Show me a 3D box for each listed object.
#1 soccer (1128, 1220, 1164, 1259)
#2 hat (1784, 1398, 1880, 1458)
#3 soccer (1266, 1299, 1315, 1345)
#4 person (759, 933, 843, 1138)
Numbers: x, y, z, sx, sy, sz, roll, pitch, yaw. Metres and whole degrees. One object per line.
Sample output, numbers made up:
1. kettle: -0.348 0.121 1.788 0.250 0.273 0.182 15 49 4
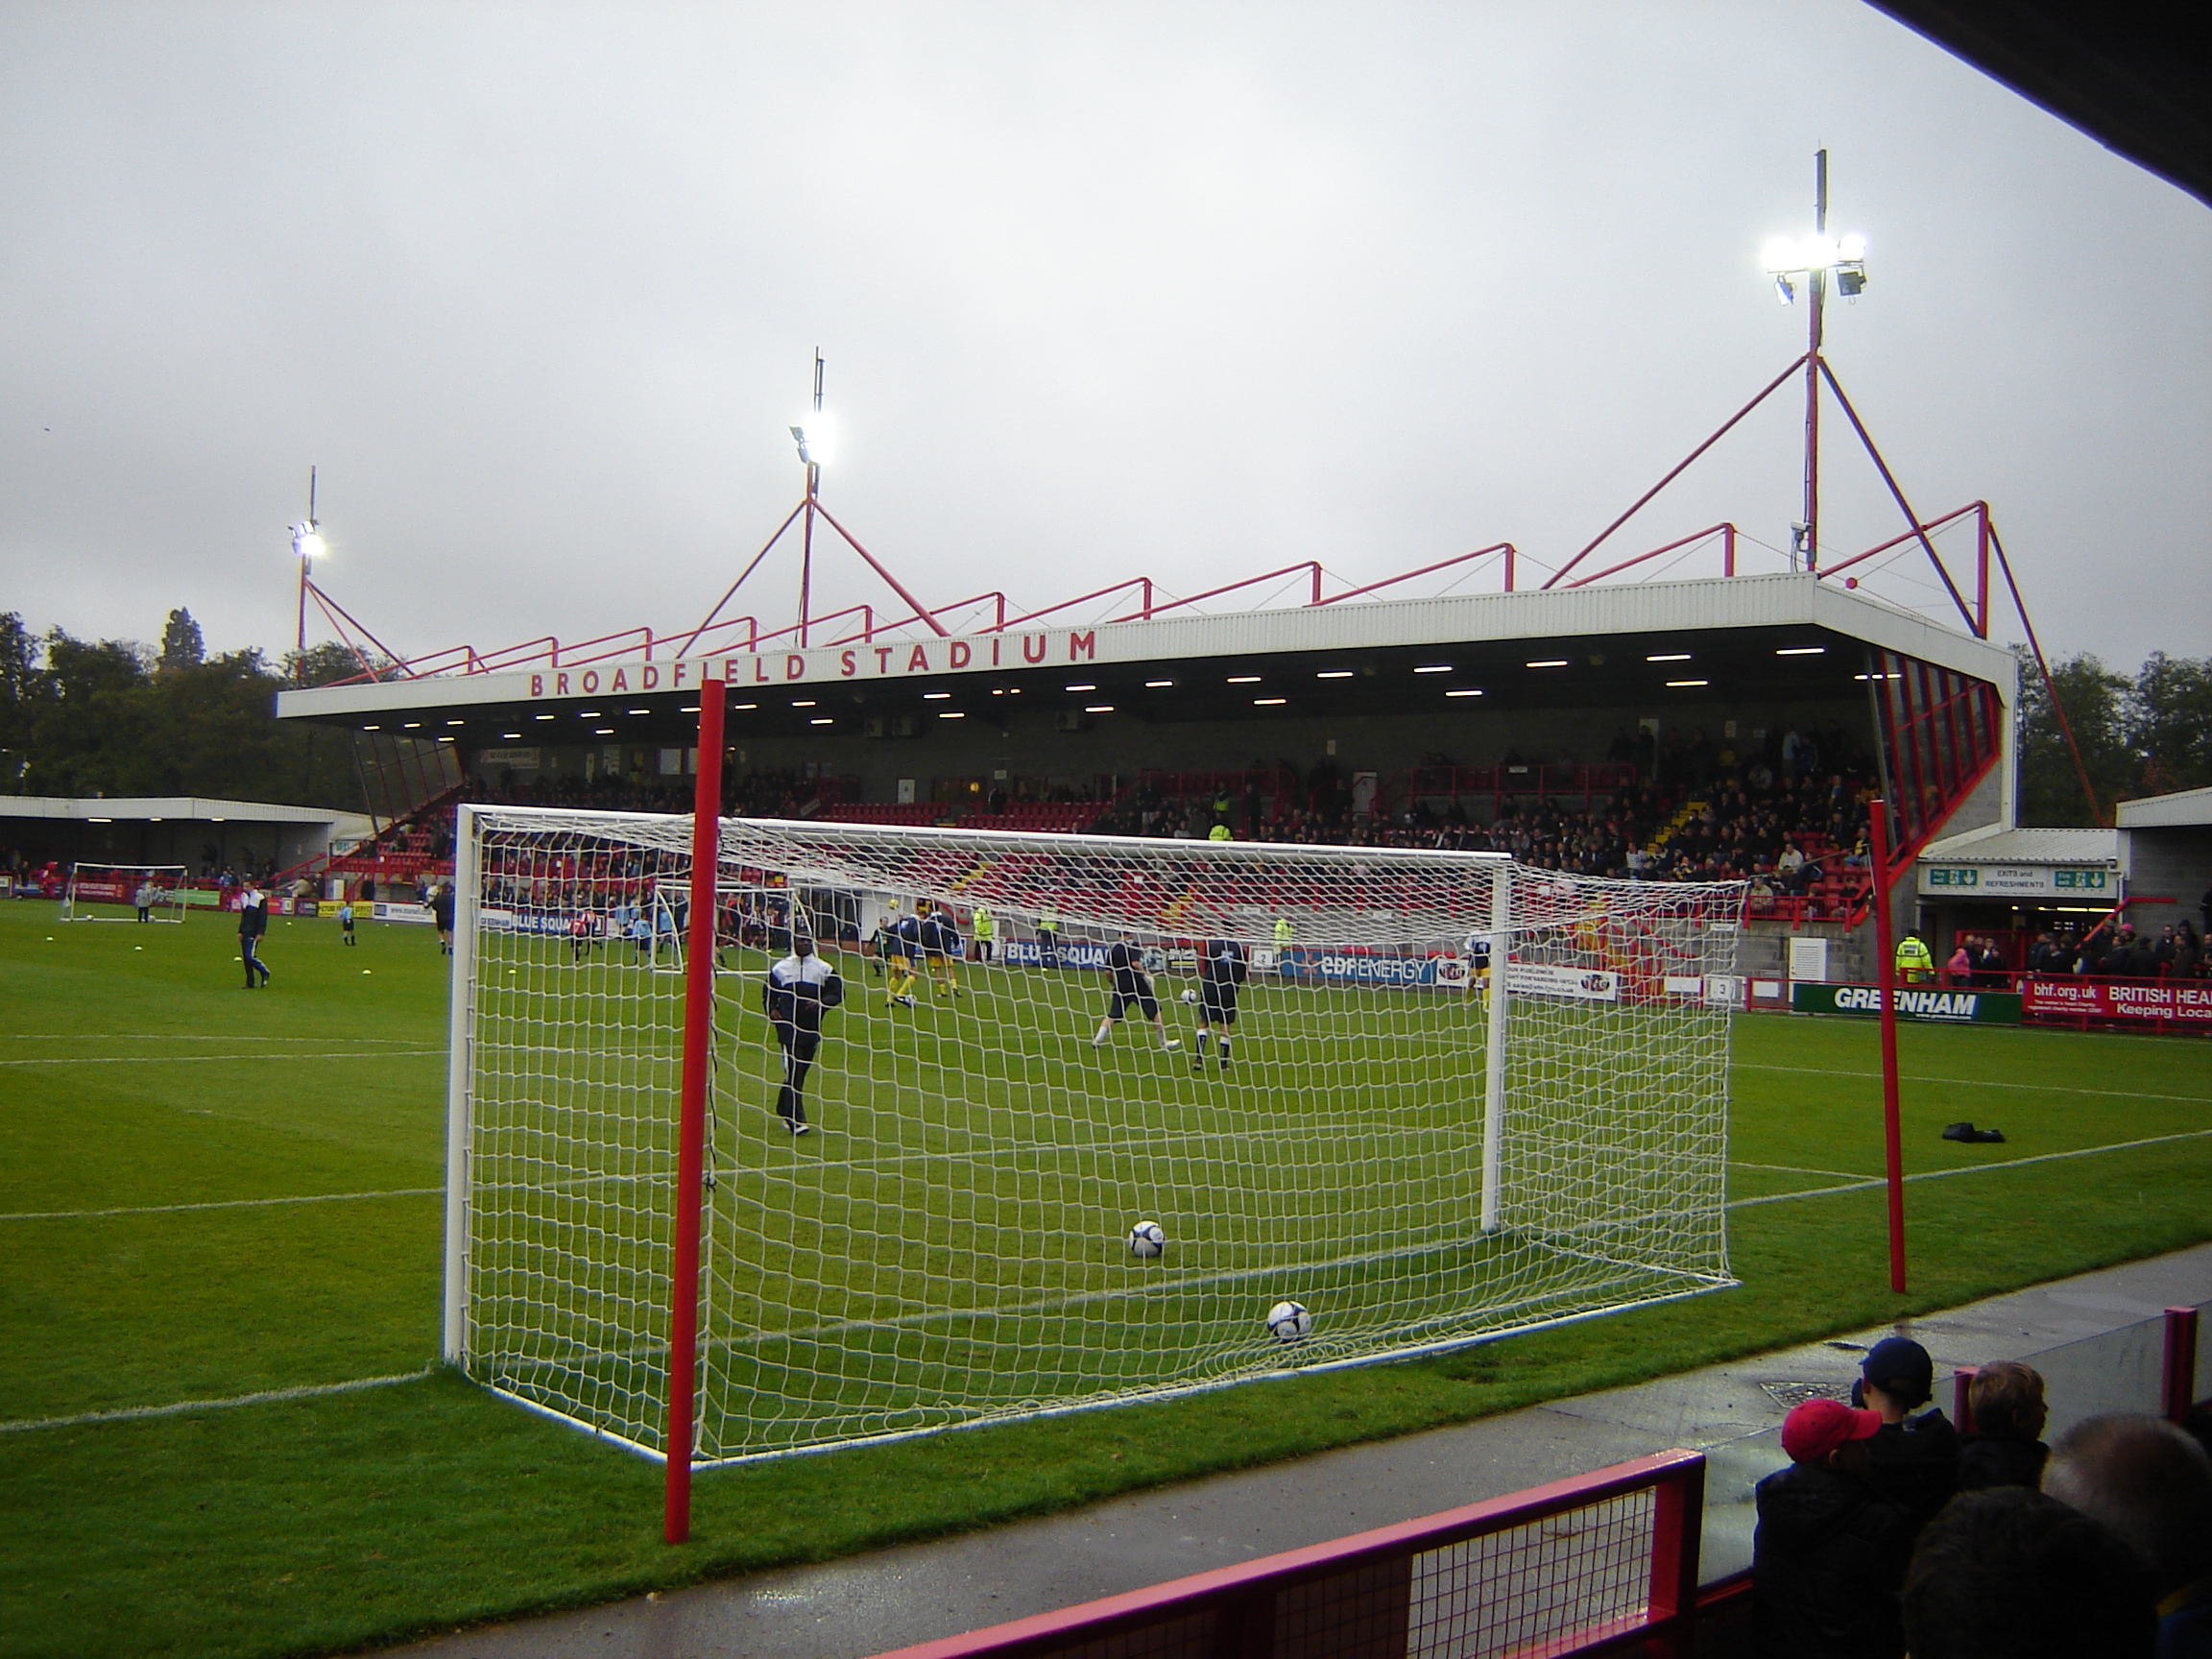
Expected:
1. soccer: 0.196 2.152 10.425 0.164 0.178 0.171 -8 -5 1
2. hat: 2.131 1.782 5.877 0.247 0.134 0.166 -22 9 -12
3. soccer: 0.852 2.324 9.377 0.158 0.171 0.163 -8 -5 -10
4. person: -1.994 1.382 12.971 0.464 1.370 1.429 3 -2 -8
